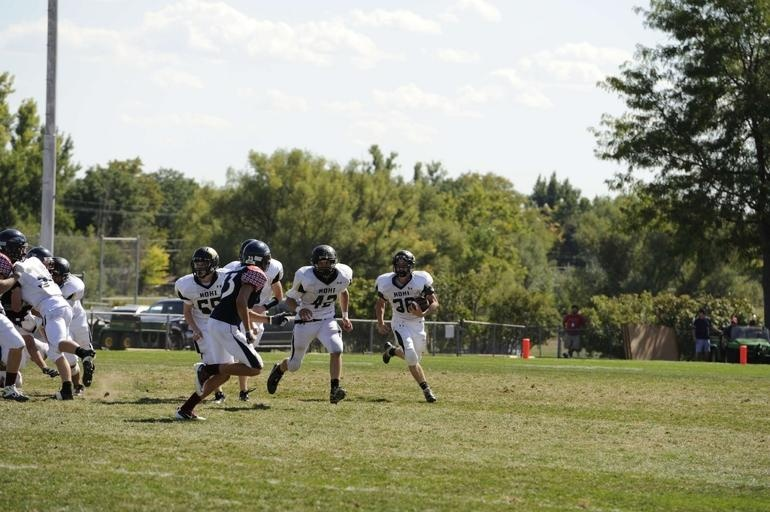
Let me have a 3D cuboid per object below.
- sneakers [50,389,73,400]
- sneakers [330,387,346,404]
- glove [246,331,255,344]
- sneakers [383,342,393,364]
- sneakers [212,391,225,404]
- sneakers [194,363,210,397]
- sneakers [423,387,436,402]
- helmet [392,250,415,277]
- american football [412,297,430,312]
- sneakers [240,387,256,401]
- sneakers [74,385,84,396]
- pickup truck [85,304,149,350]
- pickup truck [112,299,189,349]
[{"bbox_3d":[-7.330,3.107,29.253,0.491,0.230,0.173,4,4,15],"label":"sneakers"},{"bbox_3d":[-1.109,3.110,29.397,0.202,0.238,0.484,6,-38,-26],"label":"sneakers"},{"bbox_3d":[-2.956,1.755,28.060,0.176,0.267,0.167,-13,-20,-33],"label":"glove"},{"bbox_3d":[0.049,2.295,30.487,0.237,0.531,0.172,18,14,16],"label":"sneakers"},{"bbox_3d":[-3.832,3.193,29.564,0.305,0.232,0.151,5,-5,-12],"label":"sneakers"},{"bbox_3d":[-3.987,2.663,28.030,0.278,0.713,0.227,1,1,11],"label":"sneakers"},{"bbox_3d":[0.993,3.225,29.942,0.154,0.234,0.476,-4,-14,-11],"label":"sneakers"},{"bbox_3d":[0.410,0.209,30.344,0.468,0.563,0.569,1,-12,5],"label":"helmet"},{"bbox_3d":[0.792,1.087,29.908,0.328,0.321,0.254,22,17,-17],"label":"american football"},{"bbox_3d":[-3.218,3.127,29.934,0.185,0.237,0.580,3,31,18],"label":"sneakers"},{"bbox_3d":[-7.040,3.046,29.659,0.173,0.237,0.532,0,-8,-13],"label":"sneakers"},{"bbox_3d":[-9.363,2.584,45.425,2.074,1.369,1.306,-2,3,-12],"label":"pickup truck"},{"bbox_3d":[-8.123,2.437,44.689,2.720,1.372,1.853,2,-3,8],"label":"pickup truck"}]
